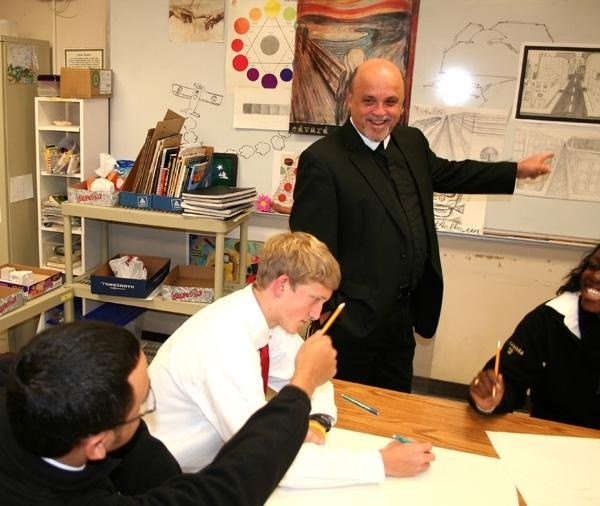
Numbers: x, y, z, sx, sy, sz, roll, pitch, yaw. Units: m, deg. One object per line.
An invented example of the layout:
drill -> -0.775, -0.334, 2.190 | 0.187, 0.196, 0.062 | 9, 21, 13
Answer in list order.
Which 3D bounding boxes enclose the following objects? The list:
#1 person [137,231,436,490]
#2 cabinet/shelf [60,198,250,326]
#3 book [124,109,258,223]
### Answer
person -> -0.108, 0.160, 1.606 | 0.830, 1.167, 0.496 | 2, 29, 2
cabinet/shelf -> -0.901, 0.132, 3.010 | 0.969, 0.866, 0.519 | 10, 7, -11
book -> -0.654, -0.535, 2.838 | 0.711, 0.591, 0.473 | 7, 12, 20
